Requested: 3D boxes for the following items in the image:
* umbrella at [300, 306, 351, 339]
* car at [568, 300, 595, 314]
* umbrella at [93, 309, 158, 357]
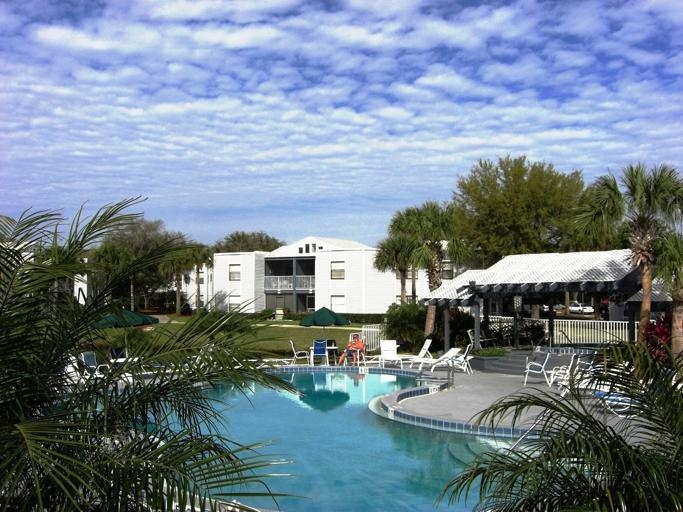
[{"bbox_3d":[-0.834,2.801,25.615,1.795,0.858,1.794,0,-7,-8],"label":"umbrella"},{"bbox_3d":[24.722,5.411,59.870,1.310,0.738,2.366,0,2,-29],"label":"car"},{"bbox_3d":[-3.652,1.207,9.385,1.152,0.742,1.137,-1,-4,36],"label":"umbrella"}]
